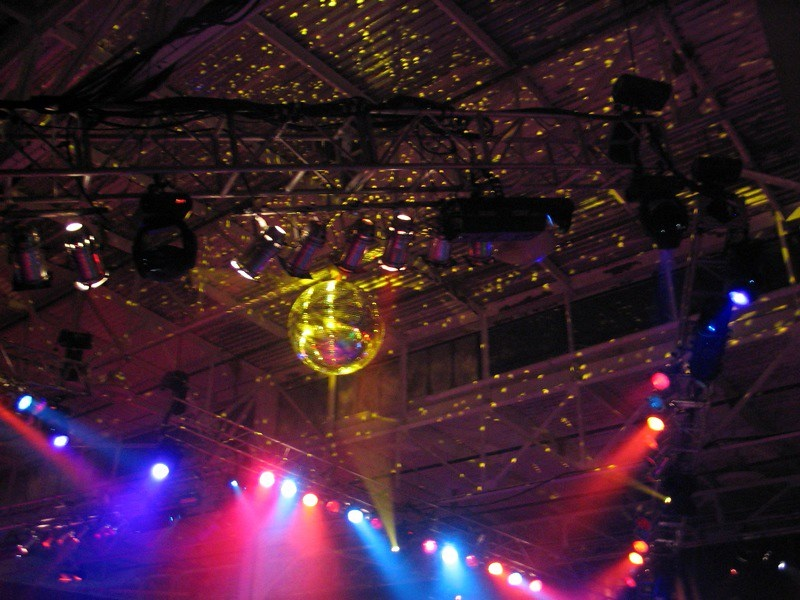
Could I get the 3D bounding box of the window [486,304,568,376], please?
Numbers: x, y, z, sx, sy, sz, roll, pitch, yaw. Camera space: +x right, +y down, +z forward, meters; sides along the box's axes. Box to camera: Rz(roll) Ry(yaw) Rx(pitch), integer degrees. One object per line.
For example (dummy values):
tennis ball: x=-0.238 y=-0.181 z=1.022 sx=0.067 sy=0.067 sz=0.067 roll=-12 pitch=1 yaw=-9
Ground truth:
window: x=2.005 y=0.643 z=14.731 sx=1.649 sy=0.789 sz=0.154 roll=-15 pitch=-44 yaw=25

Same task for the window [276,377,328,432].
window: x=-1.539 y=1.770 z=16.678 sx=1.231 sy=0.713 sz=0.322 roll=-7 pitch=-4 yaw=39

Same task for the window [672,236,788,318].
window: x=4.381 y=-0.294 z=12.499 sx=0.544 sy=0.659 sz=2.175 roll=-37 pitch=-19 yaw=26

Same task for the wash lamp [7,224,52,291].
wash lamp: x=-4.584 y=-0.561 z=11.766 sx=0.509 sy=0.614 sz=0.380 roll=-7 pitch=2 yaw=-32

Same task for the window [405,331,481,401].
window: x=0.739 y=1.090 z=15.373 sx=1.691 sy=0.739 sz=0.062 roll=-16 pitch=-44 yaw=28

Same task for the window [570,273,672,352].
window: x=3.335 y=0.219 z=14.142 sx=1.903 sy=0.787 sz=0.028 roll=-15 pitch=-47 yaw=24

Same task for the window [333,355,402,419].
window: x=-0.543 y=1.526 z=16.214 sx=0.188 sy=1.013 sz=2.032 roll=19 pitch=-25 yaw=-34
